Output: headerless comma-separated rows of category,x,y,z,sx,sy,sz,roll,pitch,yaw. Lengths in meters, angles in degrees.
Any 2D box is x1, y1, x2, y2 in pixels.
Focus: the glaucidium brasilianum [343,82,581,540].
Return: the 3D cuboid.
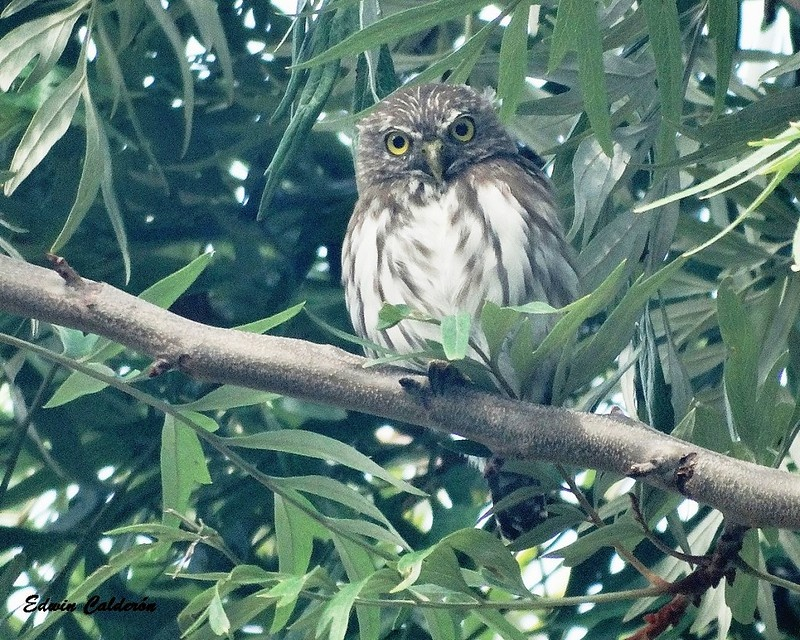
glaucidium brasilianum,0.119,0.012,2.341,0.404,0.809,0.357,-6,15,3
